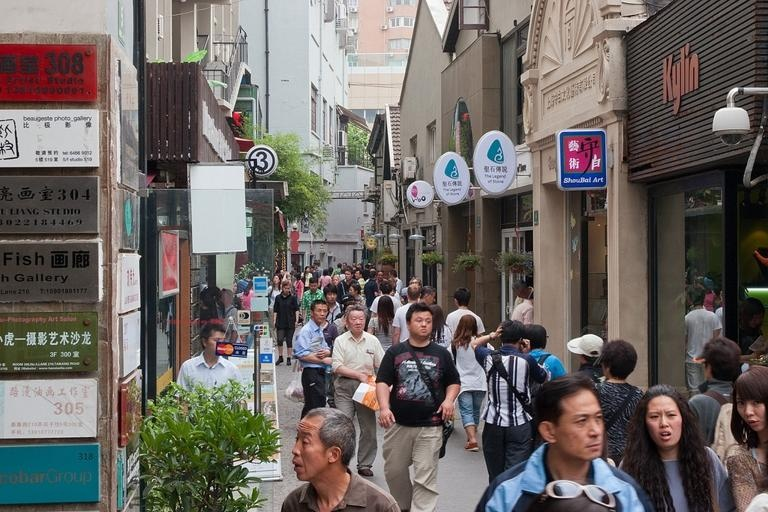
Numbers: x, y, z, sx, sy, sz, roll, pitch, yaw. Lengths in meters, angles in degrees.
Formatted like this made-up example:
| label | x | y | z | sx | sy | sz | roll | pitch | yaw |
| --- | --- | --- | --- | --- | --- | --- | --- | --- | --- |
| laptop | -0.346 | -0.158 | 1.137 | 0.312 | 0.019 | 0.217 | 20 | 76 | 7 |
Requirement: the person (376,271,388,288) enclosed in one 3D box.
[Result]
| label | x | y | z | sx | sy | sz | roll | pitch | yaw |
| --- | --- | --- | --- | --- | --- | --- | --- | --- | --- |
| person | -0.070 | 0.623 | 25.753 | 0.297 | 0.784 | 0.244 | 0 | -25 | -5 |

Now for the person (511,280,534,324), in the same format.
| label | x | y | z | sx | sy | sz | roll | pitch | yaw |
| --- | --- | --- | --- | --- | --- | --- | --- | --- | --- |
| person | 2.538 | 0.843 | 17.364 | 0.390 | 0.799 | 1.136 | -2 | -4 | 8 |

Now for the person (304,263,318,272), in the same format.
| label | x | y | z | sx | sy | sz | roll | pitch | yaw |
| --- | --- | --- | --- | --- | --- | --- | --- | --- | --- |
| person | -3.018 | 0.447 | 38.954 | 0.223 | 0.237 | 0.704 | 18 | 16 | 28 |

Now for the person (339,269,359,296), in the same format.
| label | x | y | z | sx | sy | sz | roll | pitch | yaw |
| --- | --- | --- | --- | --- | --- | --- | --- | --- | --- |
| person | -0.981 | 0.710 | 25.966 | 0.444 | 1.082 | 0.344 | 4 | -9 | -2 |

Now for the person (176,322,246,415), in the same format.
| label | x | y | z | sx | sy | sz | roll | pitch | yaw |
| --- | --- | --- | --- | --- | --- | --- | --- | --- | --- |
| person | -2.039 | 1.221 | 10.406 | 0.904 | 0.500 | 1.506 | 5 | 31 | -11 |

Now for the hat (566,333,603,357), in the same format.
| label | x | y | z | sx | sy | sz | roll | pitch | yaw |
| --- | --- | --- | --- | --- | --- | --- | --- | --- | --- |
| hat | 2.104 | 0.964 | 9.988 | 0.230 | 0.122 | 0.311 | -33 | 30 | -33 |

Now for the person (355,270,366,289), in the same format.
| label | x | y | z | sx | sy | sz | roll | pitch | yaw |
| --- | --- | --- | --- | --- | --- | --- | --- | --- | --- |
| person | -0.792 | 0.765 | 31.492 | 0.440 | 0.786 | 0.842 | -2 | 2 | -6 |

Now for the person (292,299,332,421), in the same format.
| label | x | y | z | sx | sy | sz | roll | pitch | yaw |
| --- | --- | --- | --- | --- | --- | --- | --- | --- | --- |
| person | -0.968 | 1.353 | 12.881 | 0.512 | 1.521 | 0.503 | -1 | -4 | -7 |

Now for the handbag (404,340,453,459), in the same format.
| label | x | y | z | sx | sy | sz | roll | pitch | yaw |
| --- | --- | --- | --- | --- | --- | --- | --- | --- | --- |
| handbag | 0.532 | 1.528 | 9.938 | 0.266 | 1.186 | 0.858 | -14 | 4 | 5 |
